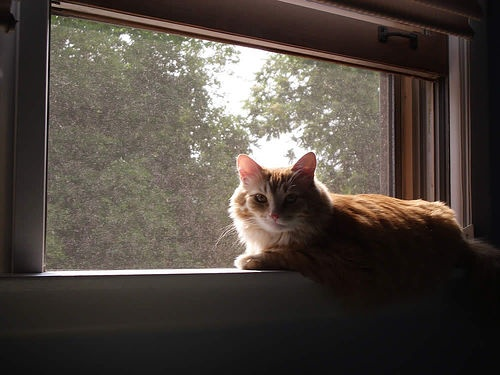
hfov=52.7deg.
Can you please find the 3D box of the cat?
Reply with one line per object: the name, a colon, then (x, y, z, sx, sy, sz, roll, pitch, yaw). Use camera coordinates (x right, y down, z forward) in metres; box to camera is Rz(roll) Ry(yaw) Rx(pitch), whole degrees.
cat: (0.281, 0.202, 1.732, 1.107, 0.442, 0.347, 9, -31, -15)
